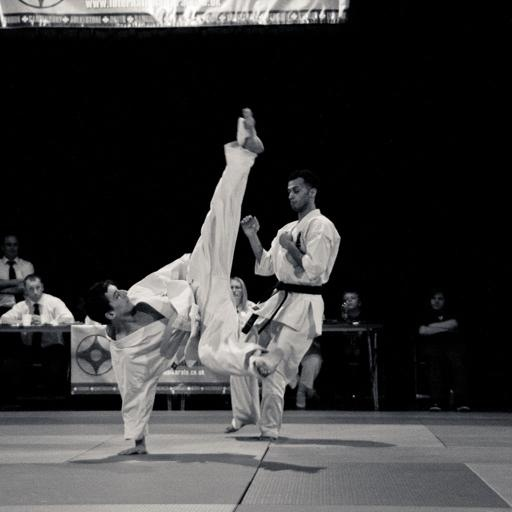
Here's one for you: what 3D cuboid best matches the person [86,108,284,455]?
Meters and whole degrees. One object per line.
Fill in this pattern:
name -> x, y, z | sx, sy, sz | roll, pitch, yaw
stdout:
person -> -0.406, 0.152, 4.492 | 1.073, 1.990, 0.512 | -3, -4, 14

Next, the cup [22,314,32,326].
cup -> -2.197, 0.609, 7.281 | 0.097, 0.118, 0.101 | 0, -5, 0

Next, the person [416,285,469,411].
person -> 1.755, 1.019, 7.120 | 0.433, 0.837, 0.143 | -3, -4, 16
